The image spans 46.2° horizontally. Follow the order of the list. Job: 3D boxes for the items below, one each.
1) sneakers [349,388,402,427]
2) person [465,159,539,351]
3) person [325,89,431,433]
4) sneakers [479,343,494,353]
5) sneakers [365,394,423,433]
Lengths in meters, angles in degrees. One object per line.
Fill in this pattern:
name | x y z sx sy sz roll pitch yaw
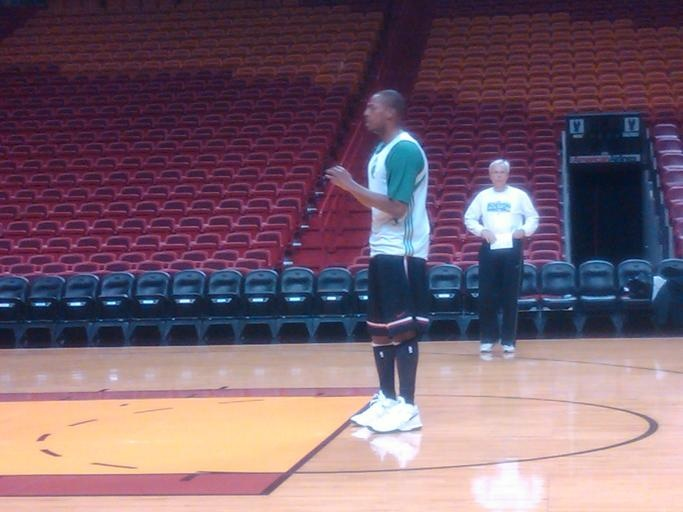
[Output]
sneakers | 0.133 0.807 4.208 0.337 0.129 0.109 -17 10 -8
person | 1.168 0.023 5.796 0.504 1.415 0.383 -2 8 -6
person | 0.217 0.015 4.159 0.450 1.736 0.474 0 8 11
sneakers | 1.048 0.666 5.778 0.085 0.075 0.225 -1 -6 4
sneakers | 0.298 0.831 4.144 0.356 0.149 0.116 -1 -2 -7
